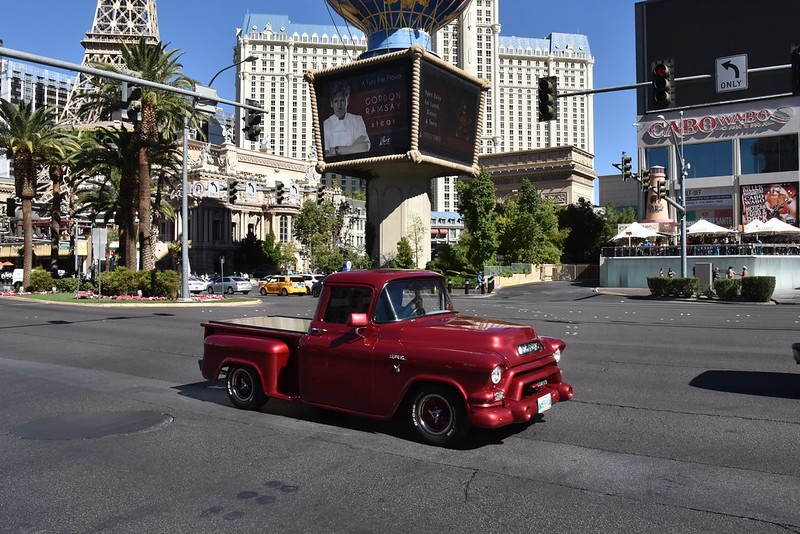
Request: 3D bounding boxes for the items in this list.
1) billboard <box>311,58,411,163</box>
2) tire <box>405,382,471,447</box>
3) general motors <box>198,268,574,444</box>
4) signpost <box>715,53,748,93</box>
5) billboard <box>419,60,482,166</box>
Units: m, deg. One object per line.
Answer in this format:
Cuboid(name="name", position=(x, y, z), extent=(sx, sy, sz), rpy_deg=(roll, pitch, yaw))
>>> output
Cuboid(name="billboard", position=(-2.842, -12.463, 56.110), extent=(8.253, 6.557, 0.489), rpy_deg=(3, 11, 30))
Cuboid(name="tire", position=(0.709, 2.512, 12.264), extent=(1.061, 1.137, 0.392), rpy_deg=(4, 5, 39))
Cuboid(name="general motors", position=(-0.436, 1.674, 13.453), extent=(5.796, 2.443, 3.235), rpy_deg=(0, -1, 33))
Cuboid(name="signpost", position=(9.241, -5.275, 19.200), extent=(0.791, 0.982, 0.923), rpy_deg=(2, 6, 27))
Cuboid(name="billboard", position=(4.073, -12.382, 57.510), extent=(0.776, 6.857, 9.242), rpy_deg=(4, 2, 27))
